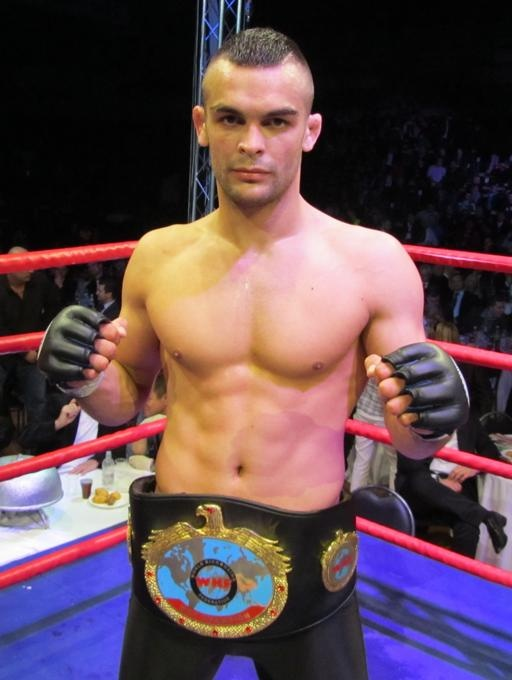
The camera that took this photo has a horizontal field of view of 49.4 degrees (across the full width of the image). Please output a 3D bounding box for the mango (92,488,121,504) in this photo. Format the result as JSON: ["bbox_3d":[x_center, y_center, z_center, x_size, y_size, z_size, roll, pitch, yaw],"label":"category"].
[{"bbox_3d":[-0.661,0.689,2.442,0.074,0.025,0.070,4,8,-8],"label":"mango"}]

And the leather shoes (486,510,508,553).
[{"bbox_3d":[1.214,0.963,2.845,0.107,0.231,0.081,-9,4,-32],"label":"leather shoes"}]

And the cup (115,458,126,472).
[{"bbox_3d":[-0.710,0.657,2.922,0.041,0.043,0.042,1,8,0],"label":"cup"}]
